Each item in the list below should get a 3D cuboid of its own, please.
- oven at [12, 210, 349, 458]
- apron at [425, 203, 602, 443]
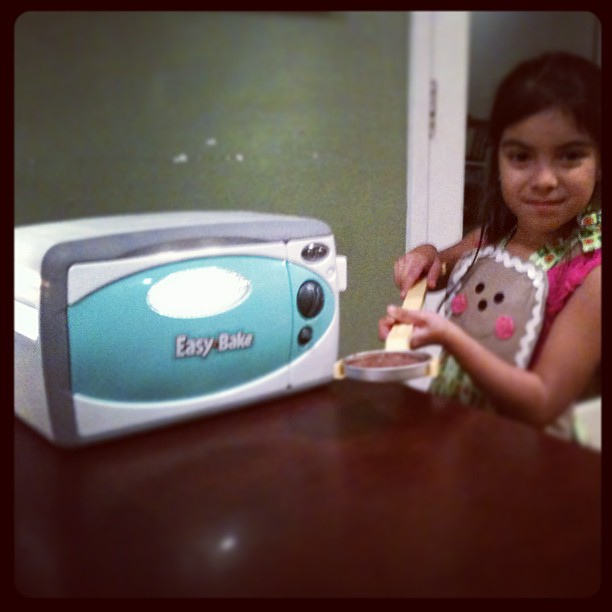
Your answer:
[{"bbox_3d":[-0.131,0.013,0.710,0.343,0.268,0.260,-8,24,-30],"label":"oven"},{"bbox_3d":[0.232,0.008,0.651,0.161,0.228,0.129,9,29,17],"label":"apron"}]
